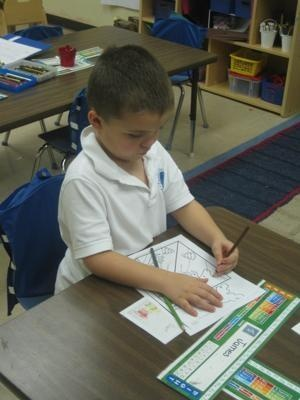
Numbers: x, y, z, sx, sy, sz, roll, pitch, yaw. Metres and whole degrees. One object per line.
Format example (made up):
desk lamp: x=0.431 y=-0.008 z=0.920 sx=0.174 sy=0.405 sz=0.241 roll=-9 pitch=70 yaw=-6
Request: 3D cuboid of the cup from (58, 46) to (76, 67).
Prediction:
cup: x=-0.503 y=-0.868 z=2.046 sx=0.098 sy=0.124 sz=0.100 roll=4 pitch=43 yaw=-3

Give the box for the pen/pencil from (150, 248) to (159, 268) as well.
pen/pencil: x=0.010 y=0.131 z=0.771 sx=0.008 sy=0.004 sz=0.057 roll=-14 pitch=34 yaw=-10

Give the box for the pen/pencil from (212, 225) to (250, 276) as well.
pen/pencil: x=0.188 y=0.121 z=0.783 sx=0.010 sy=0.128 sz=0.011 roll=38 pitch=10 yaw=5

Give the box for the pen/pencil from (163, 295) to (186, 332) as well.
pen/pencil: x=0.037 y=0.202 z=0.641 sx=0.012 sy=0.012 sz=0.111 roll=30 pitch=14 yaw=-33
